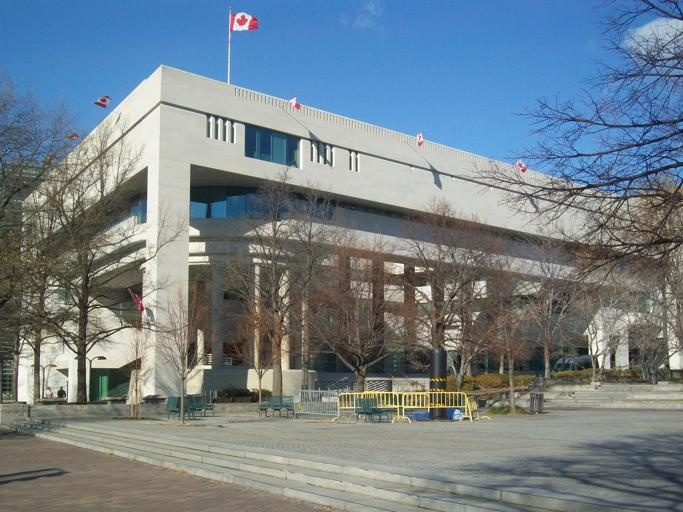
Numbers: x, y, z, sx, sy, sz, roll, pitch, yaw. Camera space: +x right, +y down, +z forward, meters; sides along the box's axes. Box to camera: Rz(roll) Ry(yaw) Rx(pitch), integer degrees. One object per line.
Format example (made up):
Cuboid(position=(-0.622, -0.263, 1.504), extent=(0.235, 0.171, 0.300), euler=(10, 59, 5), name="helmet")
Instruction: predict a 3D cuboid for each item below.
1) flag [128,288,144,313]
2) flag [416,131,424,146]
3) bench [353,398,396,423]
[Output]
Cuboid(position=(-14.000, 3.018, 59.484), extent=(0.758, 0.597, 3.732), euler=(37, -2, -26), name="flag")
Cuboid(position=(6.161, -9.100, 68.403), extent=(0.579, 0.872, 1.119), euler=(-1, -4, 5), name="flag")
Cuboid(position=(1.447, 6.840, 38.421), extent=(1.587, 1.083, 1.580), euler=(7, -10, -39), name="bench")
